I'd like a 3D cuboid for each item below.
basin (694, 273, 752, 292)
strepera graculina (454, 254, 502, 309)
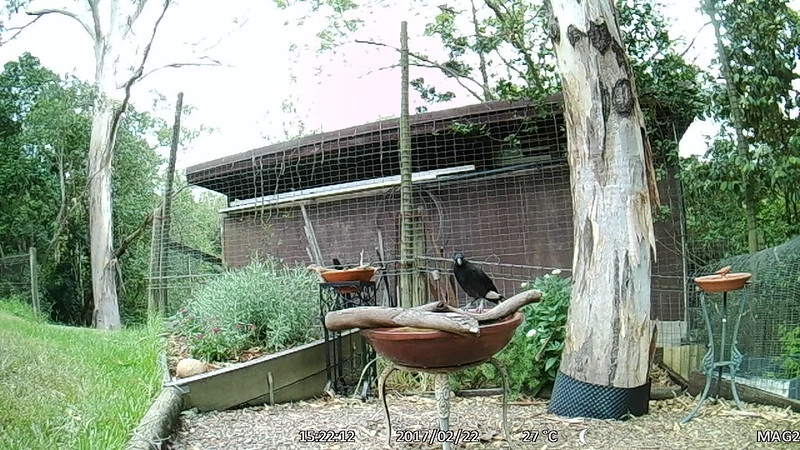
[{"bbox_3d":[4.114,0.730,7.559,0.615,0.229,0.325,-3,-7,-11],"label":"basin"},{"bbox_3d":[1.136,0.784,8.613,0.985,0.800,0.458,-2,0,-40],"label":"strepera graculina"}]
